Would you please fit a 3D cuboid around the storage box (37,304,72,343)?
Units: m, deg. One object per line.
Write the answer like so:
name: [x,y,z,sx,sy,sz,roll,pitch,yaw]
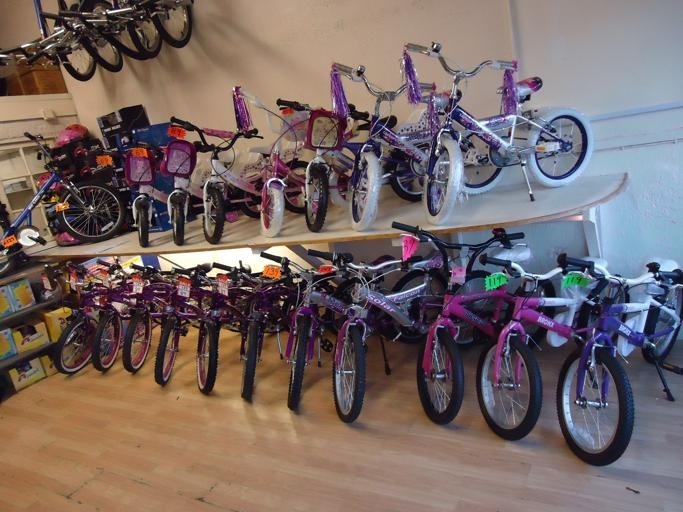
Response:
storage box: [-2.631,0.629,4.210,0.132,0.255,0.252,11,22,31]
